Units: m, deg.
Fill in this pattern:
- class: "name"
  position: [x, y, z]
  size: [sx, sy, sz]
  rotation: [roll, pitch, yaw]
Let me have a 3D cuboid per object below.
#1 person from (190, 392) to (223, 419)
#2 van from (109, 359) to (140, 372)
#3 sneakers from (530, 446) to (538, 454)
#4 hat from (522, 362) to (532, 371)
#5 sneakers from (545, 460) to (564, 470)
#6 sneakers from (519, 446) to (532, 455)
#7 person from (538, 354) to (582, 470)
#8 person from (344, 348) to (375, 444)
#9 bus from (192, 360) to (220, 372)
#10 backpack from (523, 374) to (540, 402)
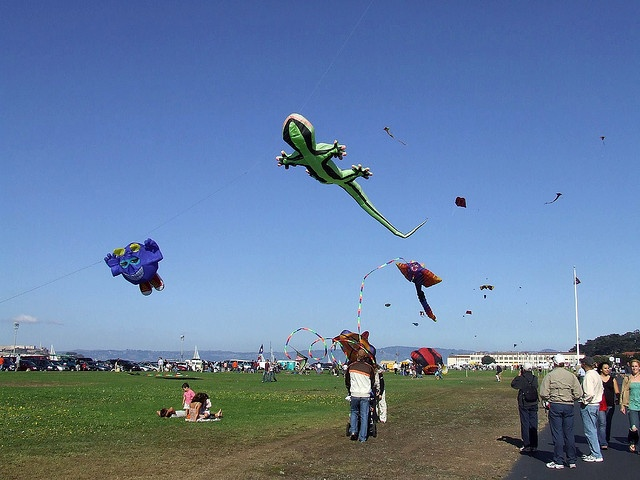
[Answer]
- class: "person"
  position: [-4.113, 5.815, 17.980]
  size: [1.016, 0.973, 0.806]
  rotation: [21, -25, -36]
- class: "van"
  position: [-31.639, 20.110, 82.728]
  size: [3.881, 1.651, 11.035]
  rotation: [4, -14, -22]
- class: "sneakers"
  position: [5.405, 5.317, 13.049]
  size: [0.162, 0.153, 0.159]
  rotation: [14, -14, -39]
- class: "hat"
  position: [5.443, 3.361, 13.567]
  size: [0.154, 0.175, 0.225]
  rotation: [9, 19, 12]
- class: "sneakers"
  position: [5.174, 4.976, 11.412]
  size: [0.324, 0.158, 0.155]
  rotation: [1, -8, 9]
- class: "sneakers"
  position: [5.149, 5.270, 12.937]
  size: [0.288, 0.144, 0.411]
  rotation: [-6, -14, 20]
- class: "person"
  position: [5.504, 3.875, 11.762]
  size: [0.910, 2.430, 0.824]
  rotation: [-7, -14, 26]
- class: "person"
  position: [1.105, 4.387, 14.575]
  size: [0.820, 2.481, 1.016]
  rotation: [-2, -13, 3]
- class: "bus"
  position: [-17.685, 19.288, 78.675]
  size: [3.141, 1.084, 2.471]
  rotation: [-2, -5, 35]
- class: "backpack"
  position: [5.333, 3.811, 13.086]
  size: [0.417, 0.568, 0.553]
  rotation: [1, -29, 5]
